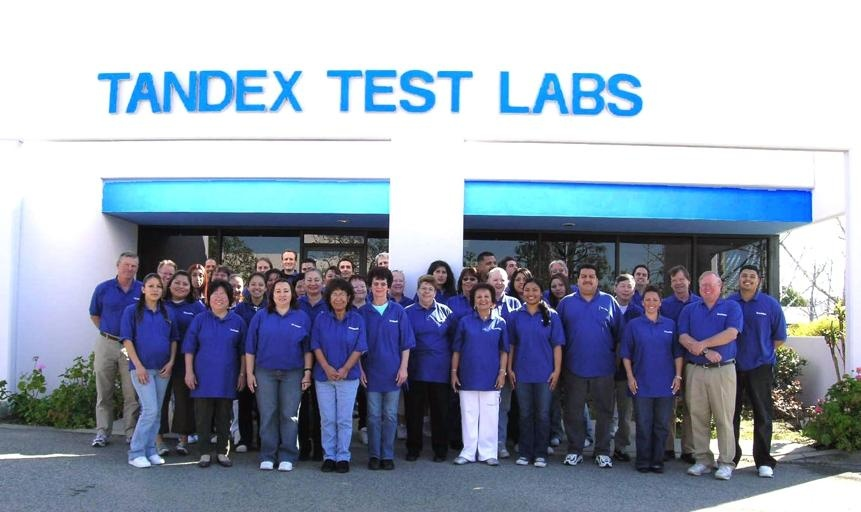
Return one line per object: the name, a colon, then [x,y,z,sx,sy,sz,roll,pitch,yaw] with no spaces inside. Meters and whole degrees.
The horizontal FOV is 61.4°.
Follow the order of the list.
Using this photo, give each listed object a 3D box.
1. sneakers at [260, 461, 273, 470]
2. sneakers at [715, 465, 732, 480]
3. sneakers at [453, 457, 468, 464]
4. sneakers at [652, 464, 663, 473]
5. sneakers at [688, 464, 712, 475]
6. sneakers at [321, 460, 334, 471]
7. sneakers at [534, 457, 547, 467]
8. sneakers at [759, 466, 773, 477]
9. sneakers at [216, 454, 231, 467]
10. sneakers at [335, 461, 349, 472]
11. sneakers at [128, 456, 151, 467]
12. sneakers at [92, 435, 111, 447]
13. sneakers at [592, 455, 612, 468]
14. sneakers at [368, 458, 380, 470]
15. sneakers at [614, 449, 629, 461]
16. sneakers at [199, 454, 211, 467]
sneakers: [-2.548,3.232,11.188,0.131,0.041,0.146,1,7,-7]
sneakers: [4.560,3.339,11.238,0.215,0.207,0.329,-6,-11,36]
sneakers: [0.491,3.274,11.605,0.181,0.068,0.101,3,-9,1]
sneakers: [3.565,3.309,11.356,0.190,0.125,0.067,2,-9,-10]
sneakers: [4.239,3.348,11.381,0.393,0.157,0.146,5,-7,-18]
sneakers: [-1.597,3.227,11.211,0.222,0.170,0.114,1,-9,-6]
sneakers: [1.746,3.274,11.561,0.217,0.144,0.135,0,-9,3]
sneakers: [5.226,3.345,11.251,0.116,0.104,0.266,2,0,9]
sneakers: [-3.275,3.188,11.379,0.263,0.175,0.231,1,-9,-8]
sneakers: [-1.365,3.248,11.226,0.246,0.155,0.159,3,-9,-20]
sneakers: [-4.521,3.177,11.201,0.276,0.100,0.154,-7,-8,40]
sneakers: [-5.533,3.089,12.054,0.140,0.130,0.314,1,-16,-7]
sneakers: [2.815,3.277,11.632,0.328,0.188,0.250,1,-9,-8]
sneakers: [-0.885,3.233,11.318,0.198,0.168,0.102,1,-9,-5]
sneakers: [3.141,3.279,11.940,0.122,0.105,0.262,4,-5,-39]
sneakers: [-3.535,3.171,11.277,0.166,0.185,0.106,4,-9,-23]
